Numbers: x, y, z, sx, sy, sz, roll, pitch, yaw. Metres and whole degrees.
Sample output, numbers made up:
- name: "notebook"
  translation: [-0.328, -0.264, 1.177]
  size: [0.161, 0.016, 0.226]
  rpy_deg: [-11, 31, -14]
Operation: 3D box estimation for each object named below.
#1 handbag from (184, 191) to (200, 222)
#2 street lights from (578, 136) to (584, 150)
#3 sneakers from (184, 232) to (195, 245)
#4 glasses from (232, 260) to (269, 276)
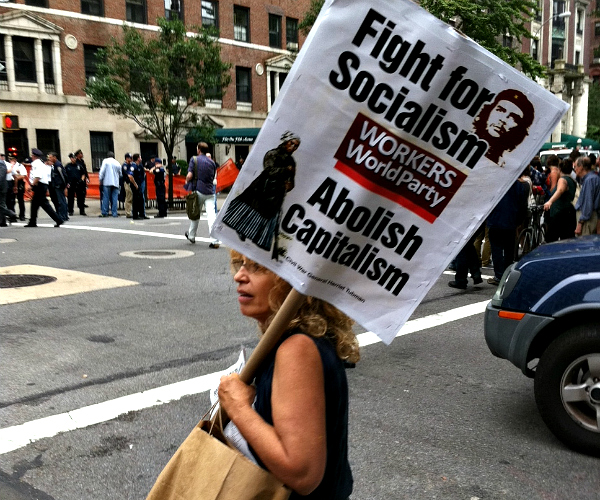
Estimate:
- name: "handbag"
  translation: [-2.186, -0.848, 13.094]
  size: [0.256, 0.580, 0.444]
  rpy_deg: [-1, 8, -14]
- name: "street lights"
  translation: [16.824, -6.233, 38.181]
  size: [0.342, 0.610, 2.249]
  rpy_deg: [4, 9, 24]
- name: "sneakers"
  translation: [-2.311, -0.218, 13.503]
  size: [0.096, 0.121, 0.290]
  rpy_deg: [2, 35, -47]
- name: "glasses"
  translation: [-0.186, 0.064, 2.292]
  size: [0.087, 0.037, 0.068]
  rpy_deg: [21, -4, 44]
